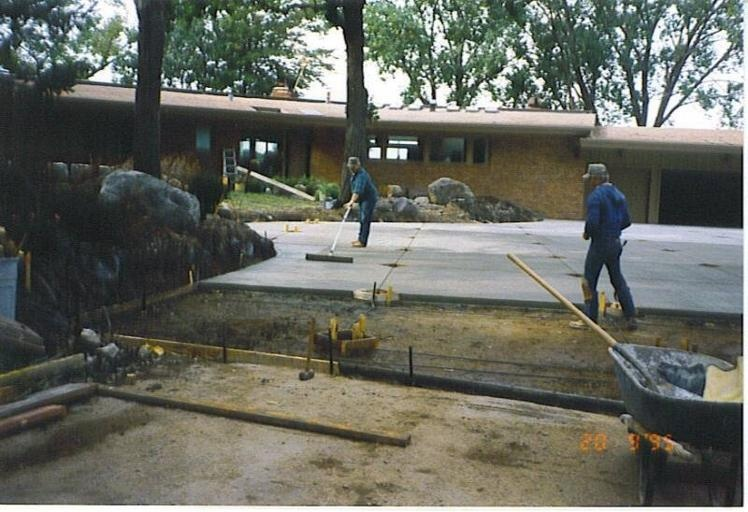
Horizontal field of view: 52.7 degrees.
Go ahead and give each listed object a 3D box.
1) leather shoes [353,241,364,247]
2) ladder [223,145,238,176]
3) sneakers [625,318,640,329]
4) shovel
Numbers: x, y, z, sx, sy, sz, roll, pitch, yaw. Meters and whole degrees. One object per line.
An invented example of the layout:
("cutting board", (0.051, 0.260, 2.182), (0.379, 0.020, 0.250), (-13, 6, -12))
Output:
("leather shoes", (-0.306, -0.248, 15.559), (0.256, 0.124, 0.099), (1, 0, 23))
("ladder", (-4.790, -3.194, 25.242), (0.458, 0.836, 1.264), (0, 8, -10))
("sneakers", (3.692, 0.979, 10.846), (0.136, 0.096, 0.161), (2, 3, -1))
("shovel", (2.645, 0.595, 9.177), (0.990, 0.139, 2.986), (38, 3, -26))
